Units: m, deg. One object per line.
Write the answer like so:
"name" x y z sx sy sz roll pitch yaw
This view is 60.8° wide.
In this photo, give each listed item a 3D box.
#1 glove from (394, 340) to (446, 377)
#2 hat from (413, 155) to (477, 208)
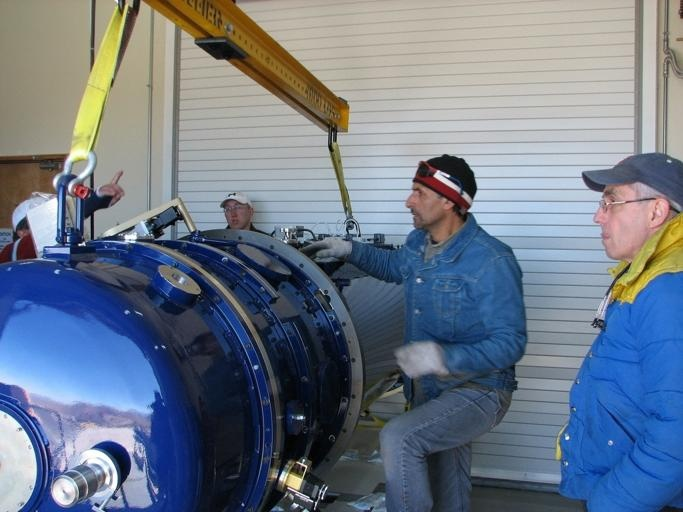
"glove" 0.315 0.415 2.359 0.207 0.140 0.059 -5 -5 1
"hat" 0.491 -0.365 2.944 0.287 0.267 0.236 12 7 -3
